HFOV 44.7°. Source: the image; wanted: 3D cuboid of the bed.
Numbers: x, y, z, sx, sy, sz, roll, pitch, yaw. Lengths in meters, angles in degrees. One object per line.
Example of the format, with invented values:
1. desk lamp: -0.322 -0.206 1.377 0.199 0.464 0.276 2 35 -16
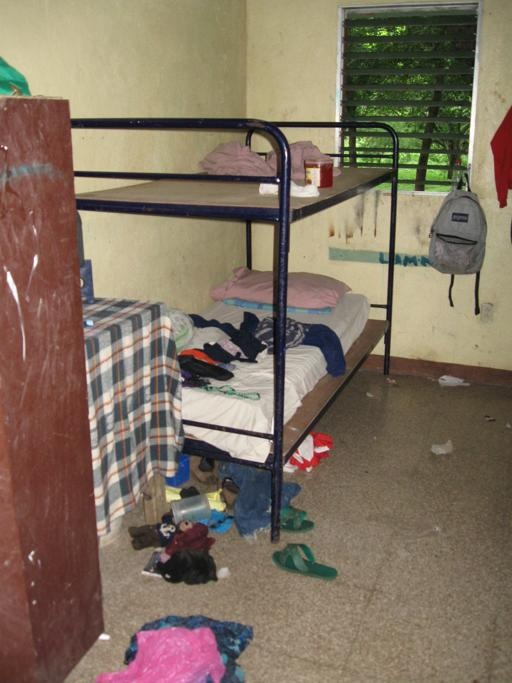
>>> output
1. bed: -0.083 -0.063 2.705 1.008 1.355 1.817 7 22 20

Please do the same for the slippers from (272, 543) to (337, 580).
1. slippers: 0.172 0.801 2.245 0.208 0.069 0.095 9 18 22

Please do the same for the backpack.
1. backpack: 1.221 -0.665 3.755 0.316 0.517 0.114 5 19 18

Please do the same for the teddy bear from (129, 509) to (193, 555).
1. teddy bear: -0.388 0.741 2.377 0.162 0.047 0.133 -19 27 -25

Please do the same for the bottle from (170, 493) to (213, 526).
1. bottle: -0.242 0.643 2.376 0.163 0.110 0.106 -2 14 -17

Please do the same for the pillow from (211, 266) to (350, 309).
1. pillow: 0.135 -0.311 3.690 0.456 0.108 0.411 5 17 11
